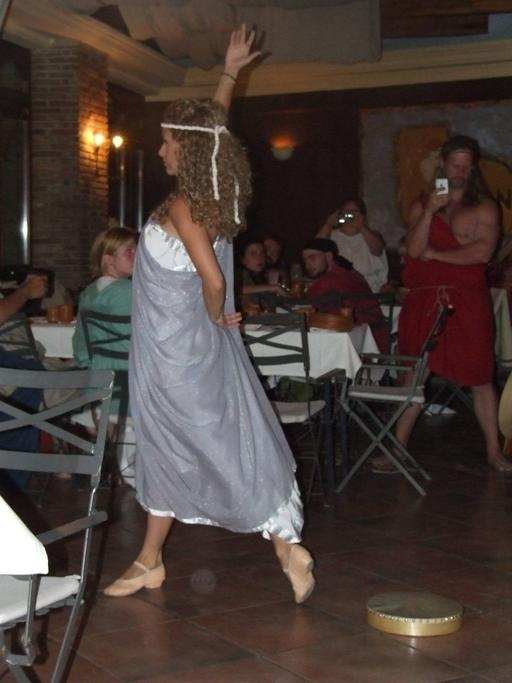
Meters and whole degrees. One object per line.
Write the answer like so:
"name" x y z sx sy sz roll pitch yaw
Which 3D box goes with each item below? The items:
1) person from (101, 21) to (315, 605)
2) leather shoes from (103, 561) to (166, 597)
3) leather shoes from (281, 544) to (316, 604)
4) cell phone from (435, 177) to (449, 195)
"person" -0.180 0.027 2.146 0.679 1.628 0.452 -2 9 3
"leather shoes" -0.392 0.765 2.155 0.171 0.062 0.089 8 -11 -42
"leather shoes" 0.152 0.712 2.107 0.086 0.199 0.091 -15 22 -31
"cell phone" 1.017 -0.847 3.671 0.065 0.098 0.168 0 8 13
